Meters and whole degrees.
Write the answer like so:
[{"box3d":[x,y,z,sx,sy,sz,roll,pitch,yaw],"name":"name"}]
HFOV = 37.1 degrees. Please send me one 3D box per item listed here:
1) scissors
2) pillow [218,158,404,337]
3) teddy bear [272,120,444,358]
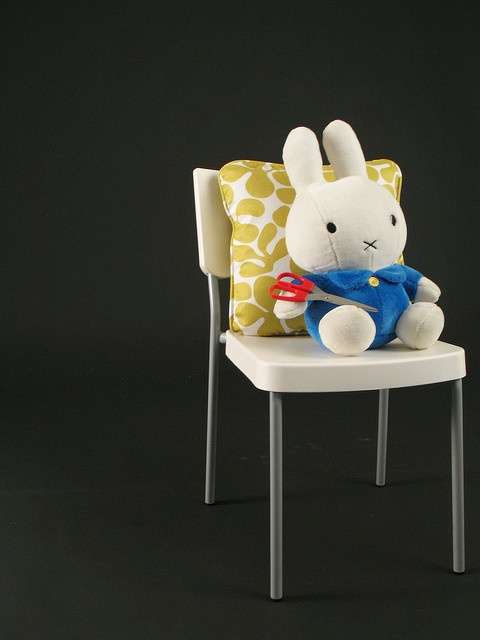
[{"box3d":[0.145,-0.036,1.250,0.193,0.015,0.075,15,53,28],"name":"scissors"},{"box3d":[0.135,-0.136,1.357,0.392,0.372,0.138,-3,0,-4],"name":"pillow"},{"box3d":[0.208,-0.152,1.297,0.318,0.417,0.292,4,15,22],"name":"teddy bear"}]
